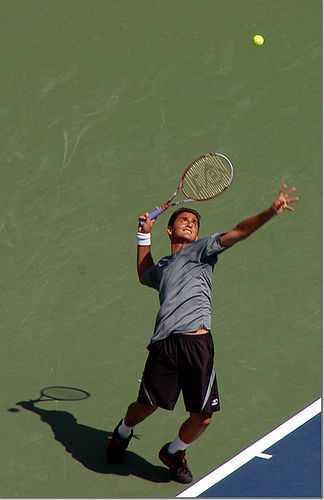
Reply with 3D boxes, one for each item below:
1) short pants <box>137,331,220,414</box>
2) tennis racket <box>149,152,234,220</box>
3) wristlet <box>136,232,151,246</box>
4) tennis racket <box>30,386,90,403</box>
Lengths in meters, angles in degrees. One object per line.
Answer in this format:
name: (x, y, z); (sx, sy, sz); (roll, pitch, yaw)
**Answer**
short pants: (0.154, 0.897, 5.289); (0.683, 0.258, 0.574); (1, 74, 24)
tennis racket: (0.329, -0.568, 5.706); (0.479, 0.276, 0.326); (-14, 52, 9)
wristlet: (-0.154, -0.087, 5.714); (0.102, 0.117, 0.101); (2, 57, 21)
tennis racket: (-0.908, 1.316, 6.525); (0.469, 0.250, 0.021); (0, 95, -1)
